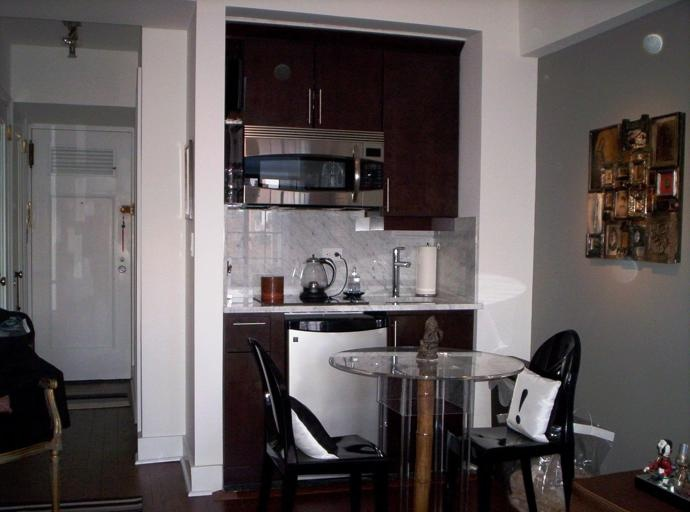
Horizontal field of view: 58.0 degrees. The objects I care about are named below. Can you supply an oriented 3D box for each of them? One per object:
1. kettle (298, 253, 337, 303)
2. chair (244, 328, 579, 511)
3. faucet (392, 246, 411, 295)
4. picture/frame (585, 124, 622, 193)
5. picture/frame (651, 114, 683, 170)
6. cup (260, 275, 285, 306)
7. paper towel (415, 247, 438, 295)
[{"bbox_3d":[-0.195,0.160,4.275,0.309,0.419,0.233,3,-4,-27],"label":"kettle"},{"bbox_3d":[0.394,0.791,3.445,1.524,1.124,0.938,1,-3,-1],"label":"chair"},{"bbox_3d":[0.410,0.112,4.584,0.139,0.359,0.338,1,6,5],"label":"faucet"},{"bbox_3d":[1.494,-0.562,3.600,0.037,0.377,0.251,-1,6,-20],"label":"picture/frame"},{"bbox_3d":[1.670,-0.601,3.243,0.052,0.271,0.199,-2,7,-26],"label":"picture/frame"},{"bbox_3d":[-0.485,0.227,4.145,0.157,0.195,0.164,1,-3,0],"label":"cup"},{"bbox_3d":[0.598,0.110,4.579,0.143,0.361,0.123,1,6,2],"label":"paper towel"}]
